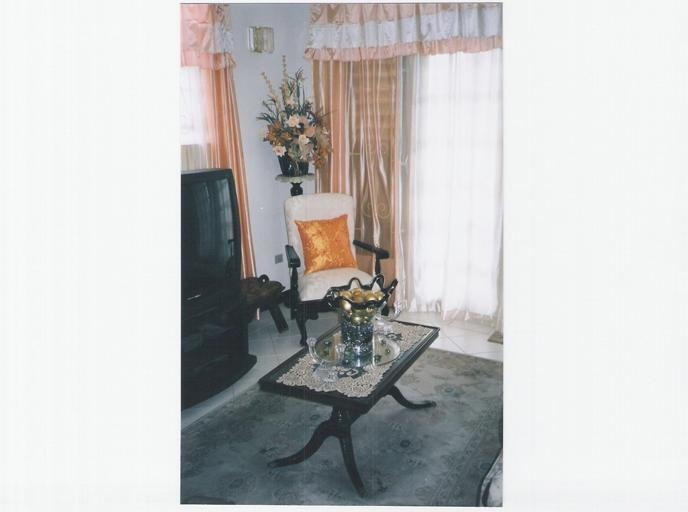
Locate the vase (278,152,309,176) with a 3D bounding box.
[{"bbox_3d":[-0.238,-0.420,2.558,0.108,0.073,0.105,-1,9,7],"label":"vase"}]

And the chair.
[{"bbox_3d":[-0.024,0.059,2.506,0.453,0.665,0.390,-10,24,-18],"label":"chair"}]

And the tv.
[{"bbox_3d":[-0.572,-0.060,2.392,0.306,0.591,0.067,-16,18,-39],"label":"tv"}]
